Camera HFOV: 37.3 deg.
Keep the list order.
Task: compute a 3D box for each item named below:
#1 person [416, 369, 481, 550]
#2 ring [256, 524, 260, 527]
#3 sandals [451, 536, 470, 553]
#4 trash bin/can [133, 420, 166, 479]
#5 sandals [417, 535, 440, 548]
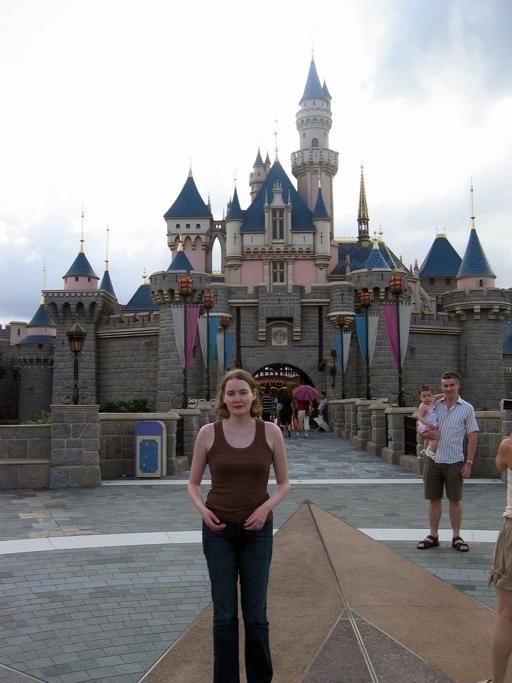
[{"bbox_3d":[1.664,1.050,6.579,0.503,1.532,0.721,-1,1,16],"label":"person"},{"bbox_3d":[0.011,0.835,3.389,0.013,0.015,0.013,5,-17,2],"label":"ring"},{"bbox_3d":[1.725,1.727,6.353,0.142,0.099,0.208,-1,1,15],"label":"sandals"},{"bbox_3d":[-1.721,1.763,12.172,0.459,0.897,0.308,-1,1,-11],"label":"trash bin/can"},{"bbox_3d":[1.488,1.754,6.523,0.237,0.094,0.080,16,-22,-42],"label":"sandals"}]
